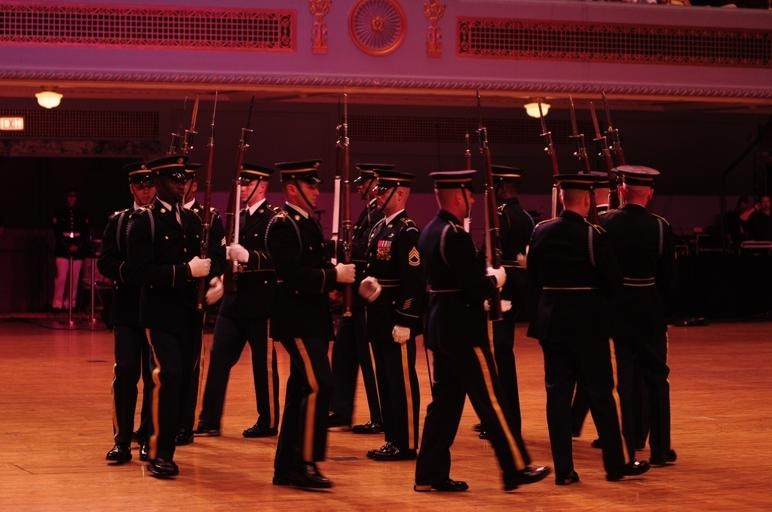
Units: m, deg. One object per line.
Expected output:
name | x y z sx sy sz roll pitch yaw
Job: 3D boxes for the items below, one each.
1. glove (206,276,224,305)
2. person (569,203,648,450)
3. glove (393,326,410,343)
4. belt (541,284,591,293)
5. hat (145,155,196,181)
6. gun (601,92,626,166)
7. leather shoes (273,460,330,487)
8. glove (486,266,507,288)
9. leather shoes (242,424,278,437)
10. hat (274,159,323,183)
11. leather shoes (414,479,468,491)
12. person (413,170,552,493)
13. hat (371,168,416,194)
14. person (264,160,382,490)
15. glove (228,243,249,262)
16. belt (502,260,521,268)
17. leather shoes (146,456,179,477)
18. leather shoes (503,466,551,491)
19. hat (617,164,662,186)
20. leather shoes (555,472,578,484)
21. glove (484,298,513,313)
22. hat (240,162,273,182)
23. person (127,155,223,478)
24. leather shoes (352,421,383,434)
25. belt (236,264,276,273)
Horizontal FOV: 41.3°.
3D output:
glove | -1.430 0.282 8.570 0.148 0.166 0.246 -40 15 -1
person | 1.947 0.620 8.983 0.828 1.999 0.657 5 6 37
glove | 0.119 0.663 8.592 0.173 0.130 0.066 0 2 13
belt | 1.428 0.260 8.065 0.457 0.039 0.046 2 -17 15
hat | -1.773 -0.698 8.274 0.289 0.092 0.259 -3 -4 39
gun | 2.256 -1.135 10.328 0.192 1.141 0.206 -13 28 -12
leather shoes | -0.640 1.718 8.062 0.556 0.175 0.166 0 -2 15
glove | 0.868 0.169 8.054 0.164 0.164 0.067 -9 -25 -1
leather shoes | -1.127 1.580 9.259 0.337 0.105 0.107 2 -3 -6
hat | -0.695 -0.662 8.124 0.340 0.110 0.295 2 2 33
leather shoes | 0.428 1.791 8.001 0.413 0.122 0.129 -2 -1 -3
person | 0.672 0.584 7.964 0.870 2.494 0.364 2 -5 0
hat | 0.057 -0.635 8.758 0.319 0.115 0.247 -3 0 9
person | -0.620 0.524 8.000 0.659 2.574 0.302 2 -5 -6
glove | -1.265 -0.015 8.786 0.188 0.093 0.098 14 -18 -29
belt | 1.119 0.084 9.184 0.197 0.045 0.025 1 0 -21
leather shoes | -1.788 1.692 8.208 0.267 0.165 0.176 1 -4 -1
leather shoes | 1.061 1.725 7.943 0.402 0.209 0.243 2 -4 -16
hat | 2.081 -0.630 8.564 0.323 0.086 0.271 13 16 6
leather shoes | 1.417 1.748 8.054 0.200 0.060 0.079 -4 5 -35
glove | 0.983 0.440 8.960 0.206 0.069 0.148 -4 -5 34
hat | -1.200 -0.764 9.474 0.252 0.086 0.198 0 -1 9
person | -1.753 0.490 8.200 0.633 2.548 0.307 3 -5 -11
leather shoes | -0.168 1.574 9.388 0.309 0.091 0.099 3 -4 -1
belt | -1.166 0.113 9.231 0.253 0.067 0.158 -1 0 -2
